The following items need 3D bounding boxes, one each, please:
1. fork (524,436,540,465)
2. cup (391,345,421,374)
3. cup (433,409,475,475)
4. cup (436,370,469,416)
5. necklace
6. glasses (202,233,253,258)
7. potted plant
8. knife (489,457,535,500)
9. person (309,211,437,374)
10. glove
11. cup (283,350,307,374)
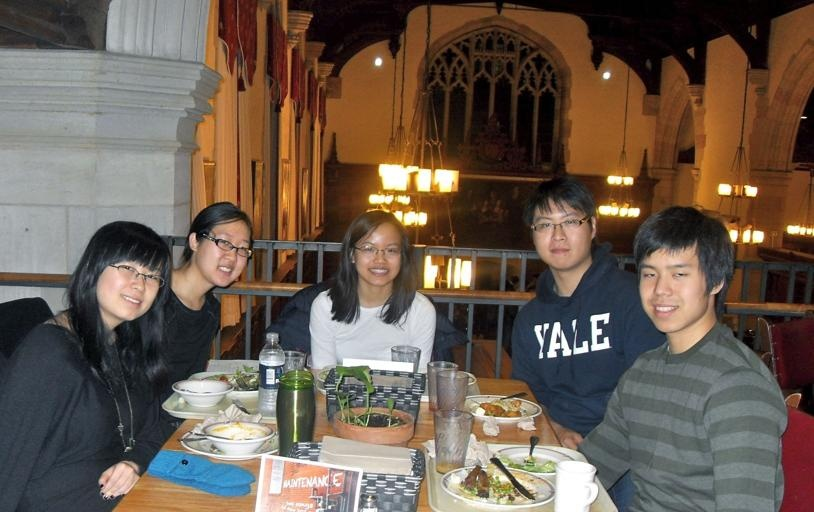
[{"bbox_3d":[0.504,0.760,2.618,0.036,0.133,0.024,11,1,-1],"label":"fork"},{"bbox_3d":[-0.005,0.487,3.084,0.122,0.128,0.133,1,-6,0],"label":"cup"},{"bbox_3d":[0.176,0.704,2.513,0.141,0.258,0.124,2,1,4],"label":"cup"},{"bbox_3d":[0.196,0.590,2.852,0.146,0.155,0.150,4,4,0],"label":"cup"},{"bbox_3d":[-1.274,0.598,2.882,0.116,0.529,0.267,-13,10,23],"label":"necklace"},{"bbox_3d":[-0.949,-0.046,3.568,0.286,0.122,0.114,1,1,-42],"label":"glasses"},{"bbox_3d":[-0.127,0.585,2.655,0.271,0.247,0.373,2,1,8],"label":"potted plant"},{"bbox_3d":[0.387,0.824,2.478,0.055,0.025,0.323,-2,14,-20],"label":"knife"},{"bbox_3d":[-0.182,0.184,3.616,0.699,0.850,0.243,2,2,2],"label":"person"},{"bbox_3d":[-0.781,0.786,2.426,0.354,0.060,0.157,11,25,4],"label":"glove"},{"bbox_3d":[-0.511,0.482,3.002,0.089,0.080,0.109,-1,-7,4],"label":"cup"}]
